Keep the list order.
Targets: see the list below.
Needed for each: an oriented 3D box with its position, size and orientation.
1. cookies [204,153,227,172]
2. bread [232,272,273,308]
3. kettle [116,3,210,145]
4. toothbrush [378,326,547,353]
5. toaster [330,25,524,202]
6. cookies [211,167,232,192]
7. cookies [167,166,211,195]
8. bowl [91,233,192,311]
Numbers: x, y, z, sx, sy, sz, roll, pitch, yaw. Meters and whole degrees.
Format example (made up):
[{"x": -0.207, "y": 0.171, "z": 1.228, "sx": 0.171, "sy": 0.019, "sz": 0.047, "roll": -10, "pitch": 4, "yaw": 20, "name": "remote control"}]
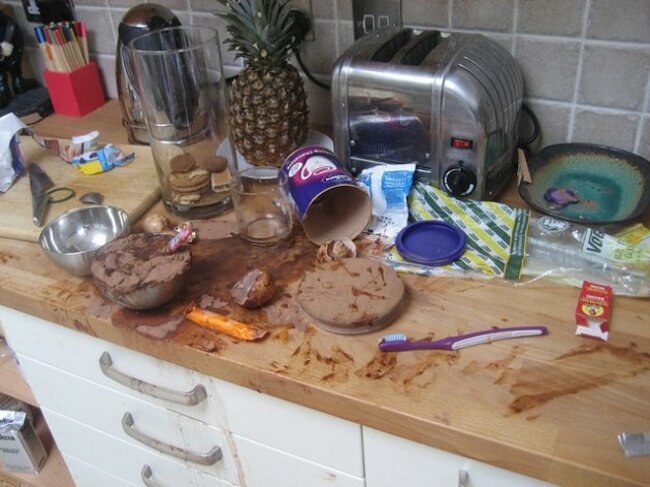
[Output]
[{"x": -0.226, "y": -0.164, "z": 1.109, "sx": 0.037, "sy": 0.008, "sz": 0.036, "roll": 10, "pitch": 43, "yaw": 14, "name": "cookies"}, {"x": -0.117, "y": 0.069, "z": 0.941, "sx": 0.064, "sy": 0.038, "sz": 0.056, "roll": -31, "pitch": 16, "yaw": -27, "name": "bread"}, {"x": -0.395, "y": -0.411, "z": 1.407, "sx": 0.160, "sy": 0.357, "sz": 0.224, "roll": -29, "pitch": 44, "yaw": -34, "name": "kettle"}, {"x": 0.217, "y": 0.150, "z": 0.852, "sx": 0.270, "sy": 0.024, "sz": 0.028, "roll": -4, "pitch": 30, "yaw": -3, "name": "toothbrush"}, {"x": 0.208, "y": -0.274, "z": 1.153, "sx": 0.390, "sy": 0.274, "sz": 0.284, "roll": 15, "pitch": 41, "yaw": 28, "name": "toaster"}, {"x": -0.221, "y": -0.130, "z": 1.138, "sx": 0.048, "sy": 0.047, "sz": 0.084, "roll": 3, "pitch": 8, "yaw": 4, "name": "cookies"}, {"x": -0.278, "y": -0.126, "z": 1.116, "sx": 0.080, "sy": 0.044, "sz": 0.036, "roll": -6, "pitch": 30, "yaw": -7, "name": "cookies"}, {"x": -0.319, "y": 0.053, "z": 0.957, "sx": 0.164, "sy": 0.099, "sz": 0.144, "roll": -13, "pitch": 32, "yaw": -18, "name": "bowl"}]
